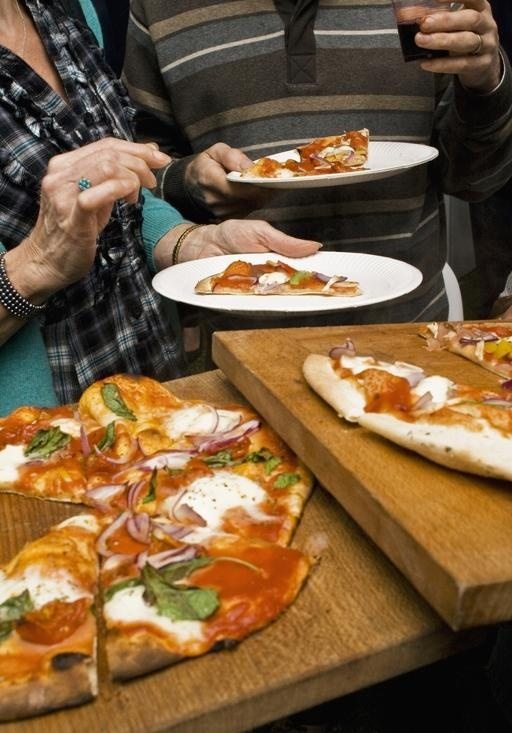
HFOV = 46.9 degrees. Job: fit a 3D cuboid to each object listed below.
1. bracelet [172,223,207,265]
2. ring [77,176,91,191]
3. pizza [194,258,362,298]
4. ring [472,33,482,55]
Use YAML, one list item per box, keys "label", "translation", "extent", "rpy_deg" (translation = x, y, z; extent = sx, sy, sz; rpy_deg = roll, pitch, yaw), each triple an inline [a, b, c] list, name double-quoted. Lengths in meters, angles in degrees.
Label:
- label: "bracelet"
  translation: [-0.225, -0.378, 1.810]
  extent: [0.033, 0.117, 0.126]
  rpy_deg: [20, 23, 14]
- label: "ring"
  translation: [-0.348, -0.371, 1.206]
  extent: [0.031, 0.024, 0.013]
  rpy_deg: [11, 51, 23]
- label: "pizza"
  translation: [0.065, -0.217, 1.517]
  extent: [0.275, 0.048, 0.166]
  rpy_deg: [-1, 20, 2]
- label: "ring"
  translation: [0.516, -0.743, 1.363]
  extent: [0.015, 0.040, 0.035]
  rpy_deg: [11, 37, 34]
